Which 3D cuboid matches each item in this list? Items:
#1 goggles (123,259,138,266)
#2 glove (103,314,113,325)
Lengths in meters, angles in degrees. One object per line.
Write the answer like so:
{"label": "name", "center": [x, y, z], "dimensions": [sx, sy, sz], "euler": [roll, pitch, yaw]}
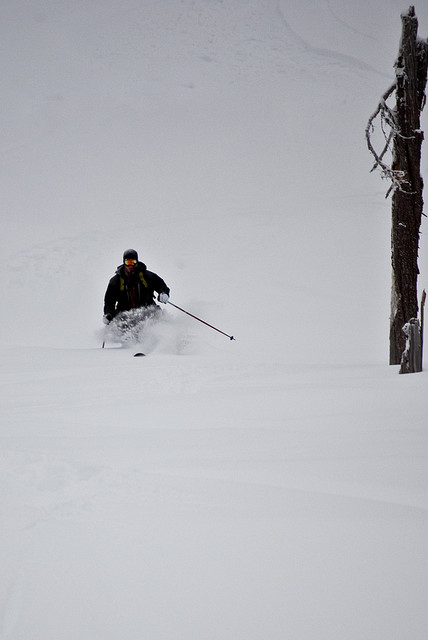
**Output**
{"label": "goggles", "center": [-0.857, -0.575, 8.777], "dimensions": [0.135, 0.084, 0.114], "euler": [-8, 12, -18]}
{"label": "glove", "center": [-1.060, 0.010, 8.551], "dimensions": [0.075, 0.087, 0.097], "euler": [14, 5, -19]}
